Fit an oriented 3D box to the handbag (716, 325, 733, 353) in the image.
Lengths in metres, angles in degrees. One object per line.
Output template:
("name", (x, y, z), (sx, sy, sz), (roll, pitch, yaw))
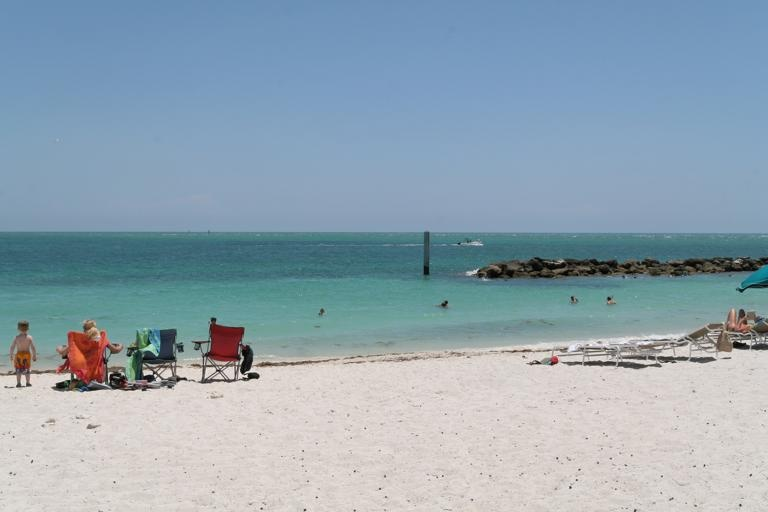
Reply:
("handbag", (10.222, 2.590, 23.095), (0.412, 0.705, 1.150), (0, 1, 23))
